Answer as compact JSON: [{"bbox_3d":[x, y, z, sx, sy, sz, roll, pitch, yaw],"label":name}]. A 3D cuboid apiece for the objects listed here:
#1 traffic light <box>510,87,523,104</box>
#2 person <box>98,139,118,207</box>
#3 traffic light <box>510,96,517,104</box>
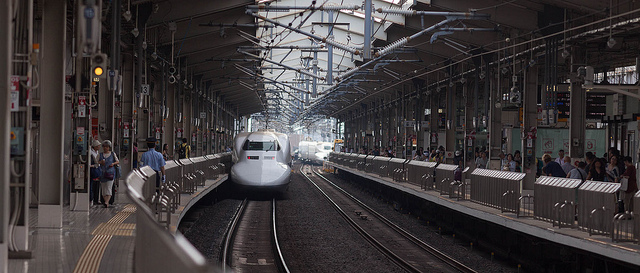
[{"bbox_3d":[13.696,-2.853,33.523,1.276,1.167,0.532,-4,8,-40],"label":"traffic light"},{"bbox_3d":[-12.133,2.049,27.255,1.368,3.566,1.139,0,-4,-7],"label":"person"},{"bbox_3d":[13.501,-2.514,33.254,0.447,0.517,0.171,2,6,4],"label":"traffic light"}]
